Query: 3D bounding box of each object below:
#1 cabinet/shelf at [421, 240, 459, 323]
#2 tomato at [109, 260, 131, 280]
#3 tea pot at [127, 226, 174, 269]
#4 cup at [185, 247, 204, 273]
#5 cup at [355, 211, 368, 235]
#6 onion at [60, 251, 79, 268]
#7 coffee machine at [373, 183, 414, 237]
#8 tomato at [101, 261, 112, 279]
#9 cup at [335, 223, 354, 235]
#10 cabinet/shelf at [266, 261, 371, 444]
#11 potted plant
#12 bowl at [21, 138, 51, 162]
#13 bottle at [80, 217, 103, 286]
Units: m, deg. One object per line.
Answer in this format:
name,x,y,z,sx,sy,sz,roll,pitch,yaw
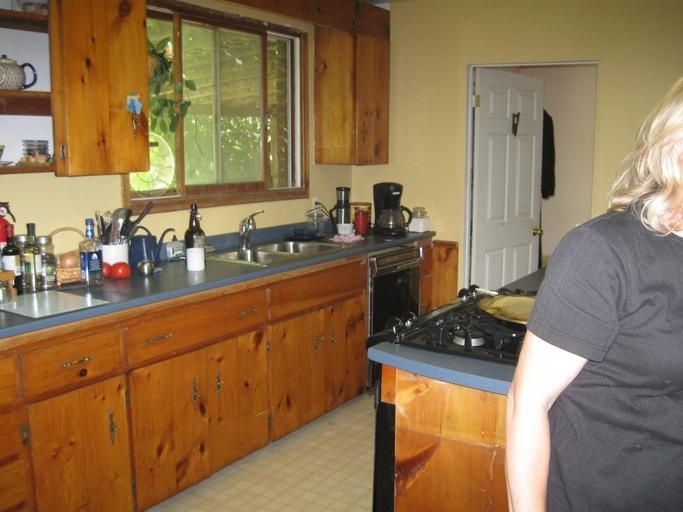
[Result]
cabinet/shelf,0.834,0.168,4.716,0.317,0.473,0.296,-15,-16,38
tomato,-1.090,0.074,2.740,0.093,0.085,0.088,3,-10,-10
tea pot,-1.057,-0.049,3.124,0.286,0.241,0.157,-1,7,-21
cup,-0.779,0.017,2.975,0.094,0.119,0.102,-2,10,0
cup,0.153,-0.253,4.247,0.110,0.176,0.146,-2,10,1
onion,-1.316,0.019,2.694,0.091,0.070,0.075,-7,11,-27
coffee machine,0.373,-0.365,4.332,0.342,0.503,0.421,-3,5,-20
tomato,-1.165,0.069,2.760,0.066,0.063,0.064,3,18,5
cup,0.029,-0.218,4.224,0.095,0.061,0.099,0,12,0
cabinet/shelf,-0.307,0.497,3.628,0.534,0.990,0.871,15,18,41
potted plant,-1.022,-1.038,3.336,0.341,0.474,0.210,-20,12,-37
bowl,-1.481,-0.509,2.706,0.121,0.119,0.122,0,5,0
bottle,-1.226,-0.026,2.708,0.101,0.298,0.275,-7,11,-23
